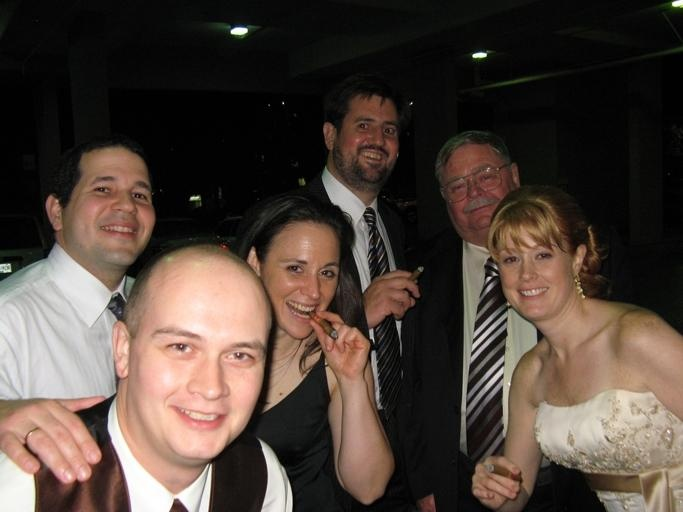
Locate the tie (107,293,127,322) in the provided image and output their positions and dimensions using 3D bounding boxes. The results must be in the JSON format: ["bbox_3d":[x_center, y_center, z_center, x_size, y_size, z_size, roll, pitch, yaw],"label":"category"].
[{"bbox_3d":[-1.237,0.287,3.208,0.042,0.159,0.121,-6,3,43],"label":"tie"}]

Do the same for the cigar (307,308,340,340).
[{"bbox_3d":[-0.102,0.384,3.330,0.068,0.058,0.320,-17,22,-18],"label":"cigar"}]

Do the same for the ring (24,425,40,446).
[{"bbox_3d":[-1.249,0.726,2.376,0.054,0.051,0.015,-14,-28,39],"label":"ring"}]

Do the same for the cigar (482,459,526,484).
[{"bbox_3d":[0.861,1.163,3.142,0.193,0.046,0.050,21,41,-5],"label":"cigar"}]

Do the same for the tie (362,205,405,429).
[{"bbox_3d":[0.291,0.344,3.992,0.160,1.343,0.196,-2,-11,12],"label":"tie"}]
